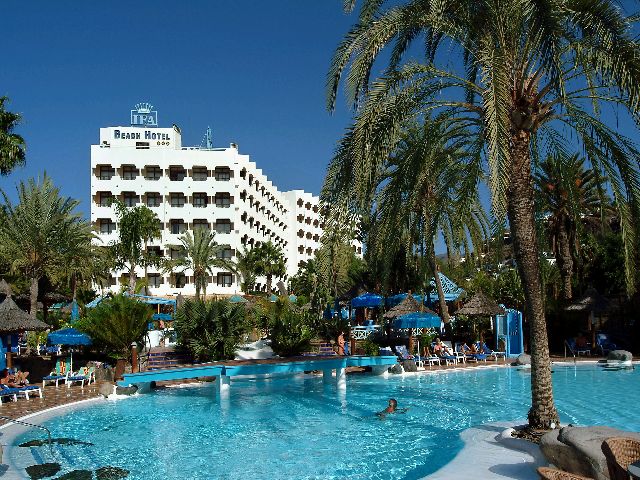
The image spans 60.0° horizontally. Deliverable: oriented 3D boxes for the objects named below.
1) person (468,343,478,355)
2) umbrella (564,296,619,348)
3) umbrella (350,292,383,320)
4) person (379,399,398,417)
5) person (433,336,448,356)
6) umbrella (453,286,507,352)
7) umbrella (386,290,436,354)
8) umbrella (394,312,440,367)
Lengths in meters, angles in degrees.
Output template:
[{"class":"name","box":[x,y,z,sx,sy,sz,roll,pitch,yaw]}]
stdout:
[{"class":"person","box":[7.870,5.689,28.491,0.393,0.821,0.545,2,-2,-13]},{"class":"umbrella","box":[14.562,4.259,29.329,2.535,3.303,2.783,-4,9,13]},{"class":"umbrella","box":[2.660,3.445,31.501,1.643,0.739,2.872,-1,-5,1]},{"class":"person","box":[2.103,5.100,16.907,0.548,0.359,1.410,-2,-5,20]},{"class":"person","box":[6.127,5.464,27.644,0.487,0.816,0.729,0,-8,6]},{"class":"umbrella","box":[8.494,4.282,29.368,2.319,2.393,2.549,-3,-2,25]},{"class":"umbrella","box":[4.661,3.852,27.617,2.130,1.845,2.445,-3,34,11]},{"class":"umbrella","box":[4.706,4.094,27.104,1.904,2.528,2.177,-1,-12,1]}]
